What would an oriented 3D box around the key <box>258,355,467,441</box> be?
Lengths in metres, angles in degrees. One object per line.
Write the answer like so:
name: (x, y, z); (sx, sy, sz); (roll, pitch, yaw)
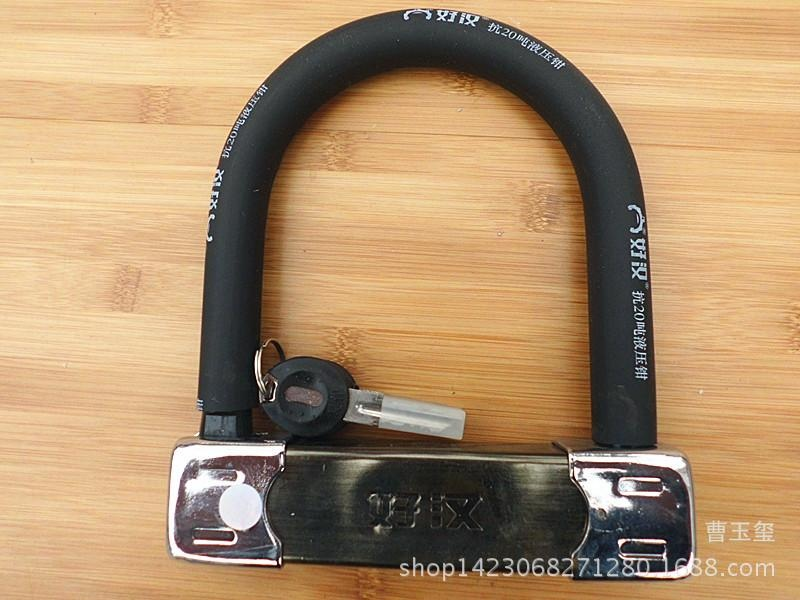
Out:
key: (-0.085, 0.147, 1.197); (0.088, 0.384, 0.098); (-13, 68, 40)
